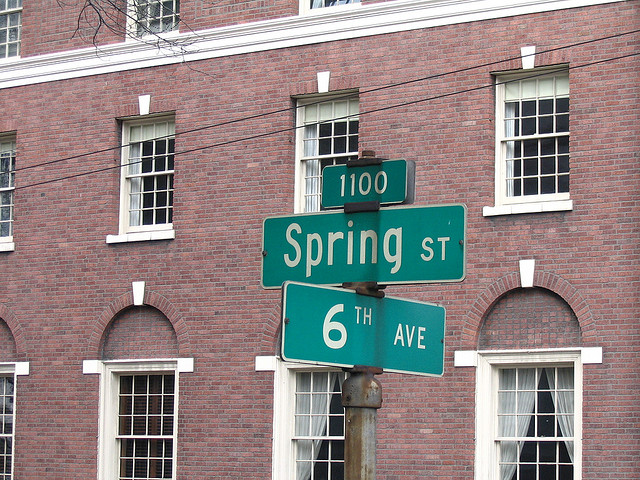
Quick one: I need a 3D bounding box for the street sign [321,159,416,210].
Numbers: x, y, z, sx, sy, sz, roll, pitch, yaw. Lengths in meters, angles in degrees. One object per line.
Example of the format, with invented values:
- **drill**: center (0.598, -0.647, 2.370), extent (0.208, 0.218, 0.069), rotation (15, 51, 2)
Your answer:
- **street sign**: center (0.643, -0.651, 22.714), extent (1.314, 0.574, 0.241), rotation (-4, -8, 36)
